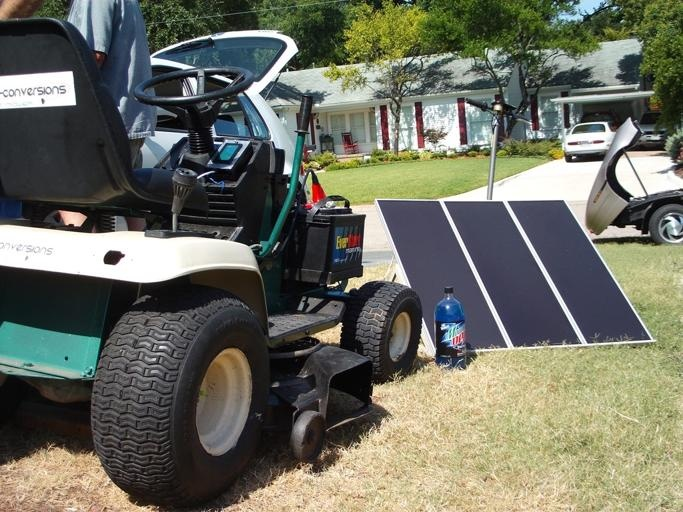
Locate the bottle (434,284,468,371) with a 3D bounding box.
[{"bbox_3d":[0.887,0.594,5.105,0.233,0.605,0.269,-15,21,-36],"label":"bottle"}]
